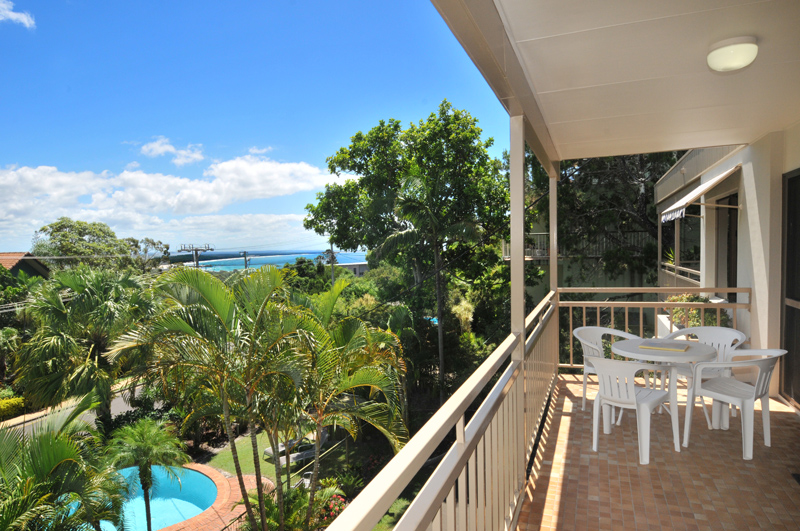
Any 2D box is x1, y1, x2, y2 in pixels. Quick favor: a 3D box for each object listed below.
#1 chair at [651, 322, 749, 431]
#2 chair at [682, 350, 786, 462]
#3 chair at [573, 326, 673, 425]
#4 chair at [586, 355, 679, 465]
[{"bbox_3d":[3.858,1.552,7.351,1.226,1.678,1.325,1,-1,-23],"label":"chair"},{"bbox_3d":[4.089,1.603,6.527,1.002,1.276,1.093,-1,7,24],"label":"chair"},{"bbox_3d":[3.054,1.523,7.353,1.170,1.715,1.347,-2,2,31],"label":"chair"},{"bbox_3d":[2.859,1.683,6.588,0.907,1.254,0.931,-7,6,-29],"label":"chair"}]
